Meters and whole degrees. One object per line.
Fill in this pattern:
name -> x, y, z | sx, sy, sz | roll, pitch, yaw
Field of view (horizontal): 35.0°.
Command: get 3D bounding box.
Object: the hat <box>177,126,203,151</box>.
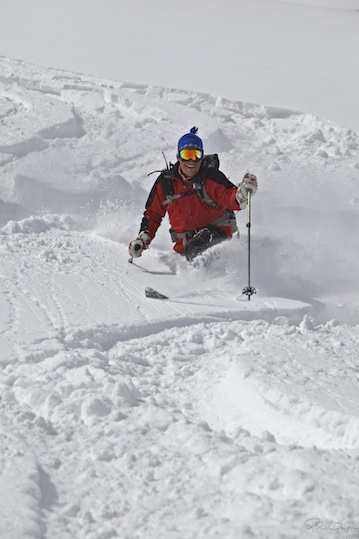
hat -> 0.107, -1.262, 5.561 | 0.232, 0.238, 0.272 | 2, -3, 4

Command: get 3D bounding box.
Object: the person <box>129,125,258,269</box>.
person -> 0.097, -0.761, 5.947 | 0.963, 1.413, 0.981 | 4, 16, 7

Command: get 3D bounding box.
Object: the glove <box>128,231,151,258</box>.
glove -> -0.417, -0.245, 5.663 | 0.120, 0.166, 0.293 | 17, 43, 33

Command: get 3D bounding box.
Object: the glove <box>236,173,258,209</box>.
glove -> 0.557, -0.664, 4.879 | 0.166, 0.295, 0.105 | 21, 40, -26
